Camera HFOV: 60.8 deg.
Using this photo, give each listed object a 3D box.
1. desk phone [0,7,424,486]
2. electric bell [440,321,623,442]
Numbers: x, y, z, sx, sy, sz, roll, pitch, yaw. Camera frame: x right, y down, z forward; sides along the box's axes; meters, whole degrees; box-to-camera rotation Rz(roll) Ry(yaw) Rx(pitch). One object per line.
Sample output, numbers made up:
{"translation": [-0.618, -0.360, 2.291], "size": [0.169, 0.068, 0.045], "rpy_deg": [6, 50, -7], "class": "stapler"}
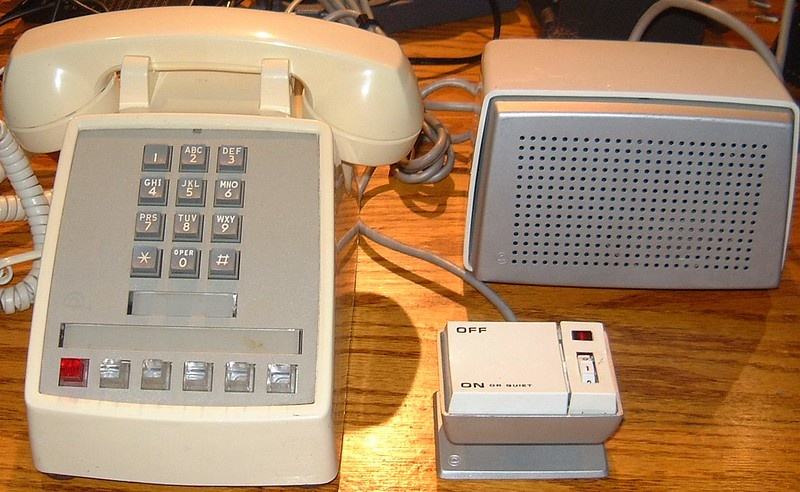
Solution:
{"translation": [-0.205, 0.045, 0.907], "size": [0.526, 0.254, 0.472], "rpy_deg": [2, 67, -1], "class": "desk phone"}
{"translation": [0.132, 0.139, 0.701], "size": [0.175, 0.078, 0.106], "rpy_deg": [-1, 56, 2], "class": "electric bell"}
